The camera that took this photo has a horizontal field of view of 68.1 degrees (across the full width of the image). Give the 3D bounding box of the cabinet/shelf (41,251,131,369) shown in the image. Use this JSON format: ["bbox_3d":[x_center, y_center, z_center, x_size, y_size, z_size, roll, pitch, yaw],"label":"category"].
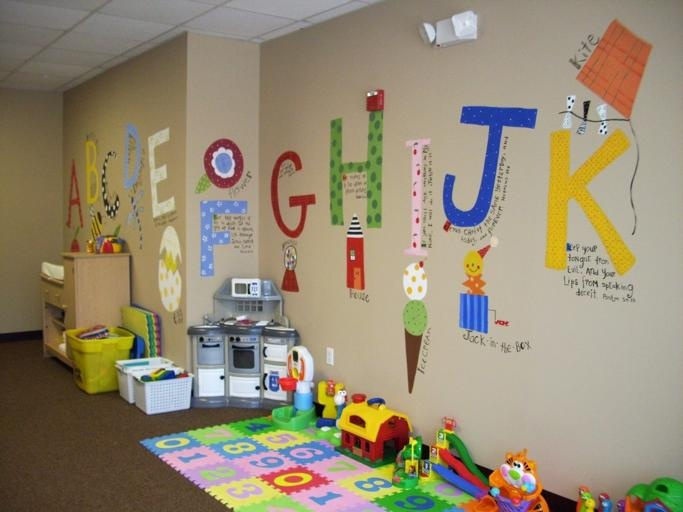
[{"bbox_3d":[-2.471,0.526,4.866,0.392,1.075,1.049,2,-2,-33],"label":"cabinet/shelf"}]

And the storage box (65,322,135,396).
[{"bbox_3d":[-2.236,0.966,4.642,0.509,0.497,0.594,3,-1,-30],"label":"storage box"}]

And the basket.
[{"bbox_3d":[-1.595,1.024,4.203,0.368,0.249,0.531,1,0,-32],"label":"basket"}]

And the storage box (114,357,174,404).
[{"bbox_3d":[-1.717,1.064,4.353,0.437,0.323,0.303,4,-3,-40],"label":"storage box"}]
